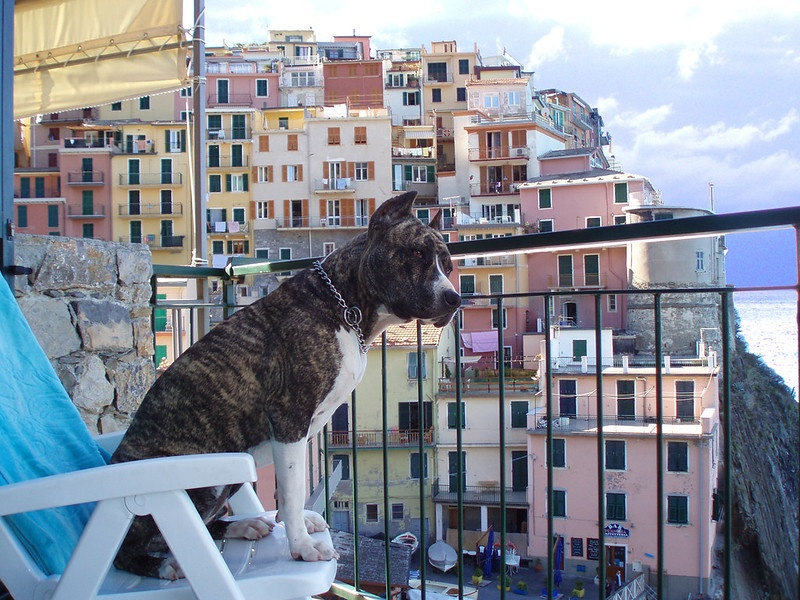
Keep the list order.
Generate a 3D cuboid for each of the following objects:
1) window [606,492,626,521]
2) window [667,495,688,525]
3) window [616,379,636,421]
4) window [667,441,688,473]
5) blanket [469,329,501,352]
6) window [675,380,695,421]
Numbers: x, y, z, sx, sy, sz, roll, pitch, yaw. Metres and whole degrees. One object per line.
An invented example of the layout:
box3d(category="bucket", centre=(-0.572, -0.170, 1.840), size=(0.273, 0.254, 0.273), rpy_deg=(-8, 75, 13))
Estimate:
box3d(category="window", centre=(14.255, 13.588, 85.109), size=(1.748, 2.612, 0.330), rpy_deg=(0, 1, 13))
box3d(category="window", centre=(18.030, 13.630, 83.929), size=(1.655, 2.601, 0.361), rpy_deg=(1, -8, 6))
box3d(category="window", centre=(15.029, 6.613, 85.805), size=(1.347, 3.172, 0.193), rpy_deg=(-2, -34, 12))
box3d(category="window", centre=(17.955, 10.151, 83.811), size=(1.764, 2.886, 0.288), rpy_deg=(0, -2, 18))
box3d(category="blanket", centre=(6.171, 2.970, 93.470), size=(1.697, 1.481, 0.269), rpy_deg=(-2, -19, 9))
box3d(category="window", centre=(18.631, 6.556, 84.867), size=(1.338, 3.641, 0.317), rpy_deg=(0, 31, 13))
